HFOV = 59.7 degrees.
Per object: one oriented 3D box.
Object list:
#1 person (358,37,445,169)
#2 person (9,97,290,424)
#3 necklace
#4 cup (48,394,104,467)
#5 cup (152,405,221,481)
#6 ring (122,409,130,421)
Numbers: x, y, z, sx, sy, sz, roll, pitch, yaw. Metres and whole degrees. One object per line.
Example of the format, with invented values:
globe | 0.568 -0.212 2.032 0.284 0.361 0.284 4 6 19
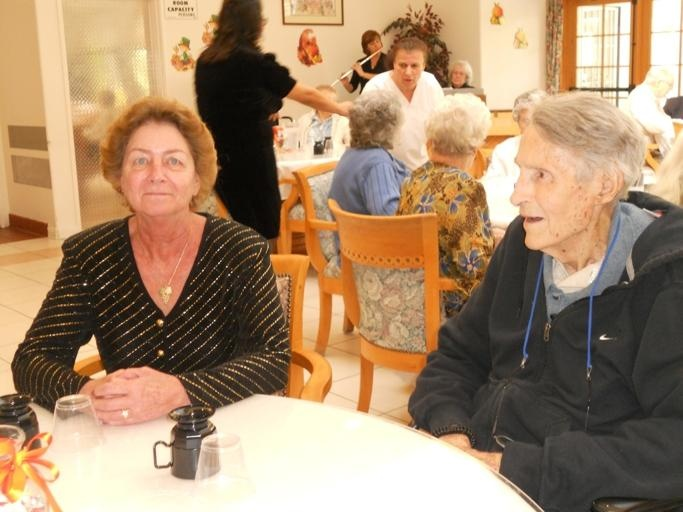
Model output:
person | 0.504 -0.913 4.459 0.572 1.322 0.463 -3 33 7
person | -0.490 -0.033 1.562 0.664 0.758 0.643 6 15 32
necklace | -0.472 0.021 1.635 0.058 0.203 0.008 6 -26 10
cup | -0.519 0.350 1.234 0.117 0.119 0.122 1 6 0
cup | -0.275 0.341 1.133 0.142 0.145 0.095 -1 8 -12
ring | -0.463 0.341 1.277 0.016 0.019 0.022 0 -1 -1
